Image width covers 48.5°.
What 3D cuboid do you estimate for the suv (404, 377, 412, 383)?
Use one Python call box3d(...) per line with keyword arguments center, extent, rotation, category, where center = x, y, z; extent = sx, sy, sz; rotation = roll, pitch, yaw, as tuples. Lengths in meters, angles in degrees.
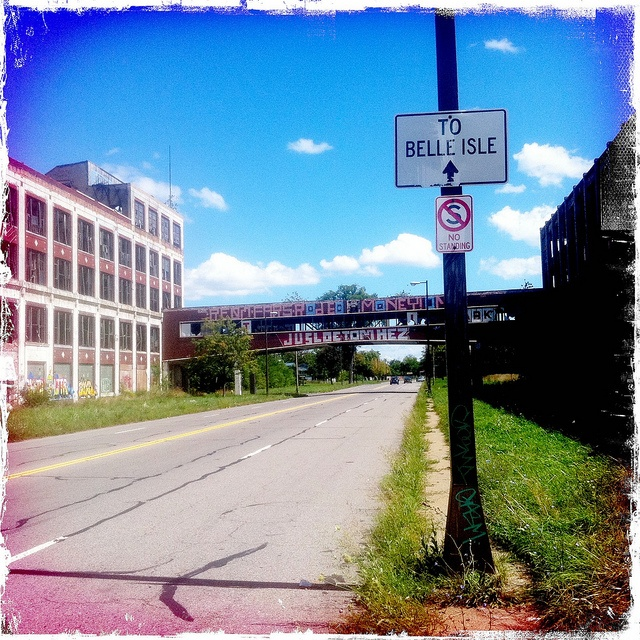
box3d(center=(12.858, 8.674, 104.972), extent=(0.864, 0.960, 2.255), rotation=(-1, -11, 5), category="suv")
